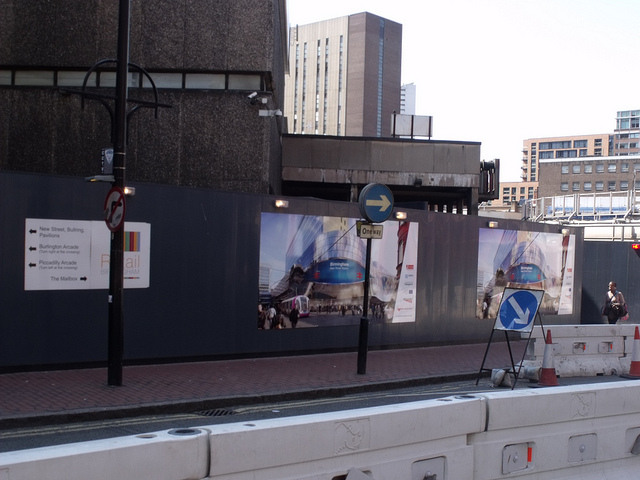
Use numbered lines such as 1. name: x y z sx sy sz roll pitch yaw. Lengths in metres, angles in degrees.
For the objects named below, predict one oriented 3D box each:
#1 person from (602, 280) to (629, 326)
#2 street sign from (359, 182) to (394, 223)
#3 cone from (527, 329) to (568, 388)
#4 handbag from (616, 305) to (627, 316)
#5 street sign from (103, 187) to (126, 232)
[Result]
1. person: 8.296 1.947 22.992 0.715 1.622 0.419 11 18 43
2. street sign: 1.192 -0.764 17.233 1.060 1.230 0.188 3 -2 -36
3. cone: 4.243 2.171 15.022 0.512 0.968 0.612 2 4 -20
4. handbag: 8.426 1.988 22.730 0.237 0.268 0.197 4 -4 -23
5. street sign: -3.732 -0.567 14.823 0.689 0.857 0.075 0 -3 40
